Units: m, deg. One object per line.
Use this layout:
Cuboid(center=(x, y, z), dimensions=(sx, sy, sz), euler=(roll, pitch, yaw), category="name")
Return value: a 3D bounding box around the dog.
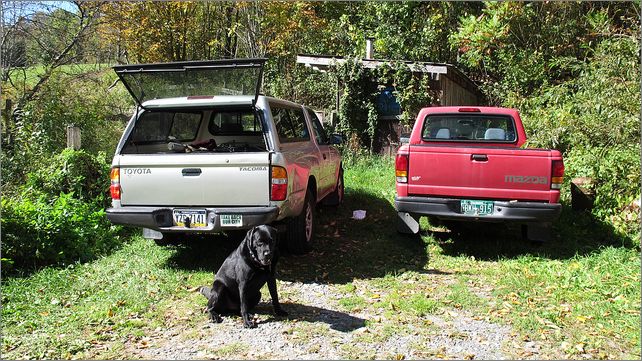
Cuboid(center=(-1.660, 1.828, 9.532), dimensions=(1.291, 1.724, 2.779), euler=(7, -12, -39), category="dog")
